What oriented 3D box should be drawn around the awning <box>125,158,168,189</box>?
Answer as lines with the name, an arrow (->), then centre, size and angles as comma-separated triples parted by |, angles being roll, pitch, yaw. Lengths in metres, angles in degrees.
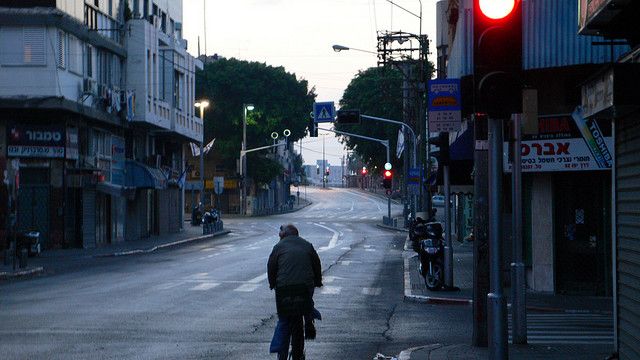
awning -> -11.467, -0.401, 55.579 | 1.915, 2.179, 5.843 | -1, 1, 6

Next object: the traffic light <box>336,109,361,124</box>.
traffic light -> 1.907, -4.193, 54.815 | 1.492, 0.687, 0.496 | -4, -2, -2

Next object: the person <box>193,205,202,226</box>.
person -> -10.736, 3.340, 71.344 | 1.004, 1.392, 2.190 | 0, -10, -3

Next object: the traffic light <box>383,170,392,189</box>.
traffic light -> 5.350, -0.059, 65.522 | 0.651, 1.122, 1.466 | -3, -3, 0

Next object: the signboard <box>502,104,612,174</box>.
signboard -> 8.533, -1.410, 29.002 | 2.623, 1.679, 0.378 | -2, -2, 29

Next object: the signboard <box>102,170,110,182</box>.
signboard -> -12.940, -0.250, 49.251 | 0.390, 0.801, 0.408 | 1, -1, 20
